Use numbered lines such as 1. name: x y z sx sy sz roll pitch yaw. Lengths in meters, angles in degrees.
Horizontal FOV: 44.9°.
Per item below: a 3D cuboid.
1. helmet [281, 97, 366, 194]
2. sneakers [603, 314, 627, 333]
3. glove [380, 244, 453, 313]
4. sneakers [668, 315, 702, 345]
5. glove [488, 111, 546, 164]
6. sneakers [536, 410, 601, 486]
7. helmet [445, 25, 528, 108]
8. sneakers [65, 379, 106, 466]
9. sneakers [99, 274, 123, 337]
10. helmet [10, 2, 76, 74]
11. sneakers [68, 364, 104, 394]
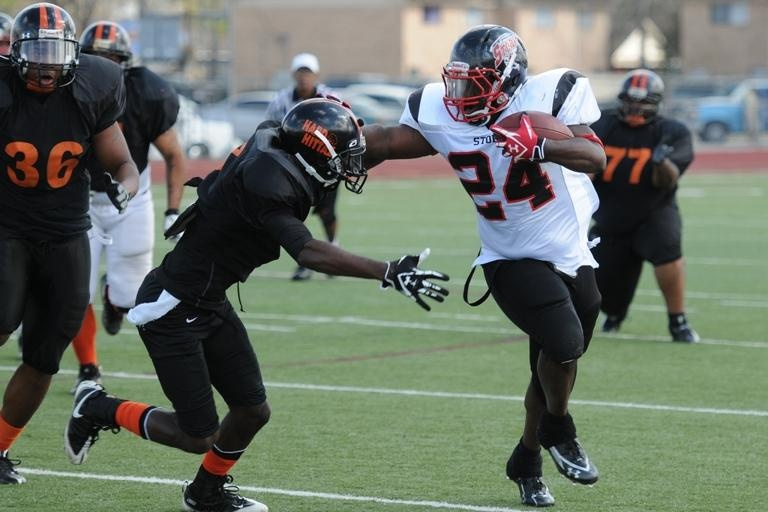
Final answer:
1. helmet: -0.360 -0.615 4.898 0.528 0.446 0.392 15 13 -14
2. sneakers: 1.975 0.589 8.037 0.194 0.183 0.115 4 32 -8
3. glove: 0.261 0.196 7.206 0.635 0.408 0.196 -2 -9 22
4. sneakers: 2.405 0.594 7.490 0.298 0.264 0.167 -3 7 7
5. glove: 0.706 -0.611 4.868 0.281 0.260 0.253 2 12 11
6. sneakers: 1.009 1.078 5.141 0.157 0.435 0.202 -28 -22 -22
7. helmet: 0.585 -1.025 5.090 0.507 0.381 0.387 -24 22 -36
8. sneakers: -1.613 0.908 5.092 0.233 0.489 0.170 8 9 6
9. sneakers: -2.058 0.418 6.996 0.174 0.509 0.238 -8 25 -17
10. helmet: -1.800 -1.159 4.944 0.337 0.328 0.416 0 4 -20
11. sneakers: -1.944 0.806 6.059 0.187 0.230 0.344 -2 -16 2
